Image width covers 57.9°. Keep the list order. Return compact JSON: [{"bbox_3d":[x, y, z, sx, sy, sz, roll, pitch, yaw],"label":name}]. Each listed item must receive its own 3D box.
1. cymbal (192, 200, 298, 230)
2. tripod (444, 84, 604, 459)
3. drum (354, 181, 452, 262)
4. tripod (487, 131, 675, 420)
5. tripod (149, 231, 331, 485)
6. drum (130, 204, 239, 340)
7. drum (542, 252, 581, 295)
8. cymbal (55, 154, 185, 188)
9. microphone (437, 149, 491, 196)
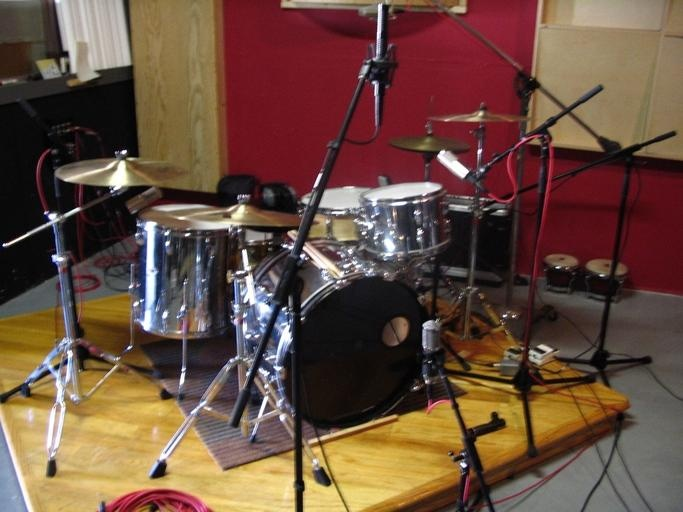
[{"bbox_3d":[-0.499,-0.220,3.304,0.284,0.068,0.292,19,24,29],"label":"cymbal"},{"bbox_3d":[1.069,-0.078,3.456,0.797,1.732,1.814,10,19,22],"label":"tripod"},{"bbox_3d":[0.315,-0.153,3.267,0.425,0.304,0.426,-4,4,0],"label":"drum"},{"bbox_3d":[1.570,0.121,3.963,1.094,1.578,0.844,15,41,24],"label":"tripod"},{"bbox_3d":[-0.533,0.474,2.867,0.759,1.064,0.861,-6,19,-25],"label":"tripod"},{"bbox_3d":[-0.830,0.065,3.511,0.602,0.601,0.614,3,8,3],"label":"drum"},{"bbox_3d":[1.565,0.106,4.520,0.262,0.278,0.247,-16,24,-36],"label":"drum"},{"bbox_3d":[-1.104,-0.444,3.072,0.634,0.169,0.407,-2,18,-16],"label":"cymbal"},{"bbox_3d":[0.534,-0.392,2.791,0.215,0.168,0.484,6,17,7],"label":"microphone"}]
